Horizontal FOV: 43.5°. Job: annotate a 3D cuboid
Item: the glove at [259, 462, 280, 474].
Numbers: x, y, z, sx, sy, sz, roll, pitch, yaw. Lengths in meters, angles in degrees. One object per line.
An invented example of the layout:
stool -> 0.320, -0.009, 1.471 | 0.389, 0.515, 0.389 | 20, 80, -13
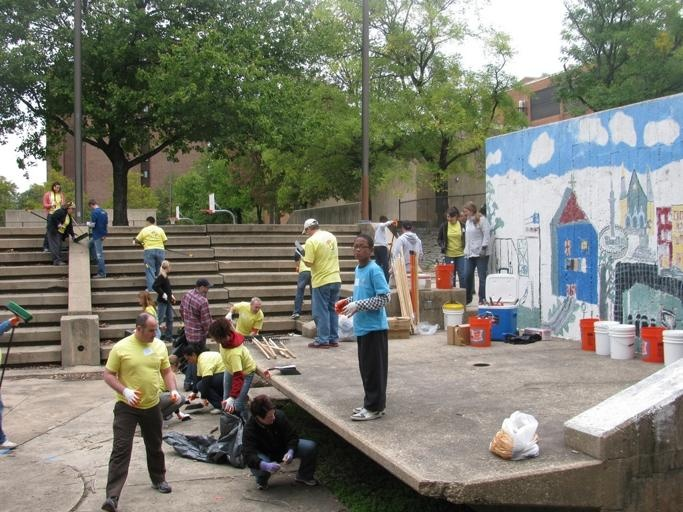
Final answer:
glove -> -1.129, 3.371, 13.683 | 0.266, 0.174, 0.283 | 3, -27, 15

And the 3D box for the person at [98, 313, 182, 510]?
person -> -3.198, 2.392, 13.452 | 1.166, 3.016, 0.583 | 0, -1, -22

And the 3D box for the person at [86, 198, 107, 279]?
person -> -6.403, -0.465, 22.330 | 0.465, 2.061, 1.141 | 0, -1, -17

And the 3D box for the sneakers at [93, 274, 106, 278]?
sneakers -> -6.241, 0.503, 21.963 | 0.318, 0.146, 0.121 | 4, -2, 10

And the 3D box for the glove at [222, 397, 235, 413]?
glove -> -1.948, 2.547, 14.754 | 0.200, 0.290, 0.248 | -1, -2, -6

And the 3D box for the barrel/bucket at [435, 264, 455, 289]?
barrel/bucket -> 2.415, 0.476, 20.433 | 0.473, 0.556, 0.528 | 1, -5, -8

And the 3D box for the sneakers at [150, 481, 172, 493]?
sneakers -> -2.915, 3.680, 13.733 | 0.331, 0.141, 0.132 | -7, -7, 40

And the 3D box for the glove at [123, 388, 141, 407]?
glove -> -3.278, 2.167, 13.270 | 0.263, 0.281, 0.190 | 0, -1, -12

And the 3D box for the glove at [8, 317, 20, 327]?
glove -> -5.608, 1.108, 14.626 | 0.122, 0.163, 0.508 | 0, -3, -18

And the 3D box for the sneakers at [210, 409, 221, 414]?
sneakers -> -2.463, 3.003, 16.725 | 0.222, 0.103, 0.090 | 0, -6, 17

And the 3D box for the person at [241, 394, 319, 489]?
person -> -1.047, 3.091, 14.152 | 1.102, 1.536, 1.077 | -14, 3, -34

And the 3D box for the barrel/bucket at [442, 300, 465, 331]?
barrel/bucket -> 2.505, 1.300, 19.255 | 0.495, 0.536, 0.506 | 1, -4, 0

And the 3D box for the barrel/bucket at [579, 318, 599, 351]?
barrel/bucket -> 4.875, 1.563, 16.926 | 0.486, 0.608, 0.510 | 1, -9, 0

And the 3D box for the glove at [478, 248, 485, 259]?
glove -> 3.276, -0.100, 19.823 | 0.126, 0.173, 0.163 | 10, 13, 34

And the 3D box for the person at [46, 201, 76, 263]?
person -> -7.341, -0.569, 22.309 | 0.719, 1.573, 0.990 | 0, -1, -20

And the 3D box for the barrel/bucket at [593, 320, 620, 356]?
barrel/bucket -> 5.016, 1.584, 16.603 | 0.549, 0.679, 0.561 | 0, -4, 0

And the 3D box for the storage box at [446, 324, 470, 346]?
storage box -> 2.436, 1.623, 17.894 | 0.397, 0.390, 0.408 | -2, 1, -43

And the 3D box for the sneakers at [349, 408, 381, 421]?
sneakers -> 0.370, 2.512, 13.659 | 0.471, 0.217, 0.181 | 3, -6, -11

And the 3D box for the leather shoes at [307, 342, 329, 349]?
leather shoes -> -0.482, 1.827, 17.686 | 0.383, 0.163, 0.158 | 4, -4, 6

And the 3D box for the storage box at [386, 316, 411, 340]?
storage box -> 1.237, 1.550, 18.565 | 0.414, 0.284, 0.440 | -1, 2, 6

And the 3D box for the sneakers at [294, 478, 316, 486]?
sneakers -> -0.592, 3.701, 14.166 | 0.291, 0.086, 0.123 | -4, -10, 21

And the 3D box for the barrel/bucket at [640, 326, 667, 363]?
barrel/bucket -> 5.761, 1.627, 15.814 | 0.534, 0.625, 0.537 | -1, -2, 0

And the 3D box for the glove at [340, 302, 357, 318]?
glove -> 0.110, 0.825, 13.518 | 0.217, 0.211, 0.335 | 1, -3, -35

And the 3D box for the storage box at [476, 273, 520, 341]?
storage box -> 3.462, 1.044, 18.713 | 0.686, 1.300, 0.738 | 3, -4, 16

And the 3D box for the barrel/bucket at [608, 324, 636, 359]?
barrel/bucket -> 5.340, 1.637, 16.352 | 0.564, 0.642, 0.573 | 1, -4, 0

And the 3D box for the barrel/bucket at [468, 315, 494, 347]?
barrel/bucket -> 2.892, 1.555, 17.764 | 0.544, 0.593, 0.487 | 0, -3, 18

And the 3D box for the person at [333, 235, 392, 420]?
person -> 0.414, 1.116, 13.626 | 0.658, 2.921, 0.504 | -1, -1, 1

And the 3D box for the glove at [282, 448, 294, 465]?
glove -> -0.898, 3.189, 13.701 | 0.174, 0.099, 0.239 | -14, -18, -43
